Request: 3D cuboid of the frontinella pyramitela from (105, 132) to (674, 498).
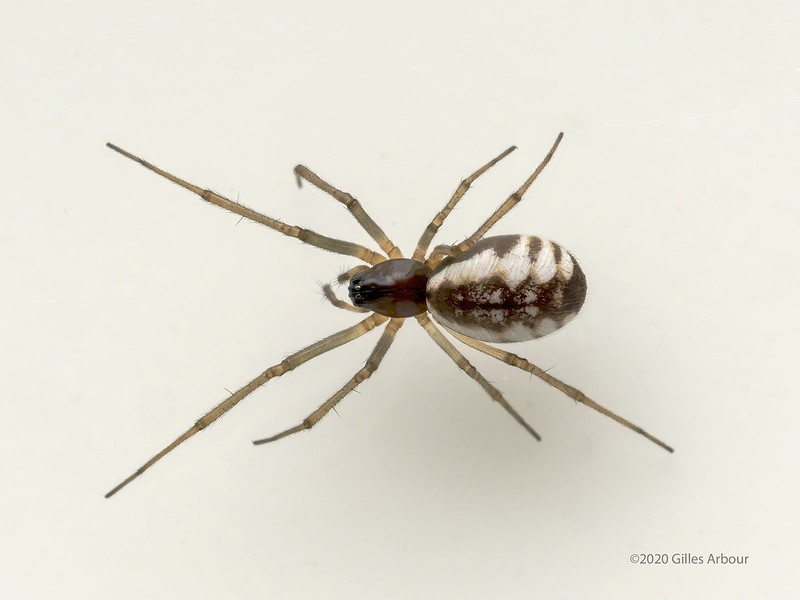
[{"bbox_3d":[0.039,-0.041,6.021,3.069,2.488,0.886,-4,-12,1],"label":"frontinella pyramitela"}]
